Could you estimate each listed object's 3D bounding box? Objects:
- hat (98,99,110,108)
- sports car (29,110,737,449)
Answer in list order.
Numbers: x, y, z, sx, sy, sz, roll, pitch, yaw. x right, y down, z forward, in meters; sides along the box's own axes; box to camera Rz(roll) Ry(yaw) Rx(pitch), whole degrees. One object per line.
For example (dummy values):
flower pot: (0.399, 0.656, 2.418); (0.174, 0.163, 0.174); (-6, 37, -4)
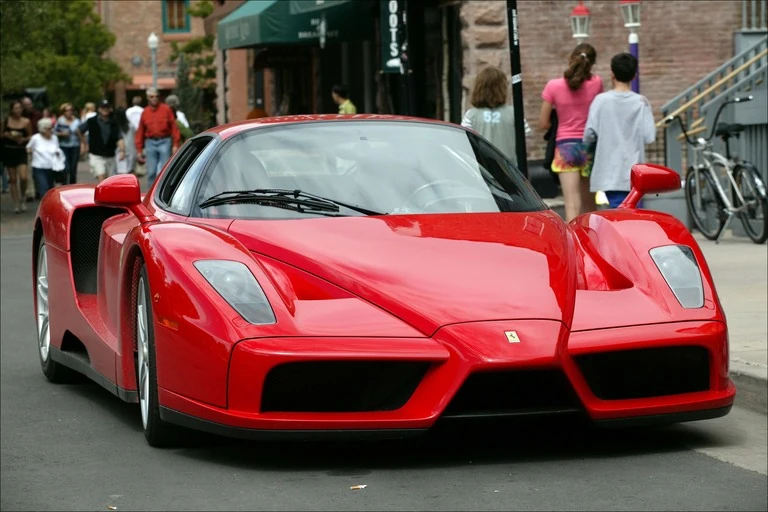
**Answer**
hat: (-6.554, -3.484, 22.122); (0.274, 0.227, 0.480); (-3, 7, -17)
sports car: (-0.241, 0.094, 5.972); (4.541, 1.980, 2.271); (3, 7, 28)
